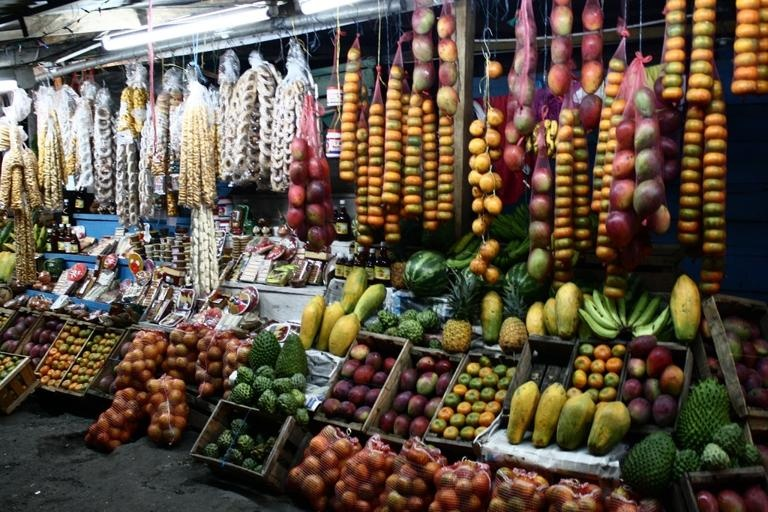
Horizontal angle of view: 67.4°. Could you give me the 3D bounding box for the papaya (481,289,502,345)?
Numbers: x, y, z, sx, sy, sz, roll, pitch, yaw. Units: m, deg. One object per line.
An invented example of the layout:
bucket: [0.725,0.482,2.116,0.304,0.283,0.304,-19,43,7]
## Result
papaya: [0.868,0.536,4.810,0.168,0.400,0.168,-7,-11,44]

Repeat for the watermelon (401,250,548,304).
watermelon: [0.720,0.191,5.322,1.003,0.420,0.733,-6,-4,1]

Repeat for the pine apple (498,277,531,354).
pine apple: [1.056,0.496,4.715,0.201,0.591,0.207,1,-5,15]

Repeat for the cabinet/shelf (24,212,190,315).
cabinet/shelf: [-3.424,0.133,7.176,1.182,0.824,0.636,-1,-6,24]

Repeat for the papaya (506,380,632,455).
papaya: [1.266,1.142,4.009,0.771,0.412,0.329,6,-48,37]

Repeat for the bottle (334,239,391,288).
bottle: [-0.193,0.090,5.519,0.441,0.351,0.147,4,5,30]

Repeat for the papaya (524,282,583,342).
papaya: [1.361,0.480,4.561,0.286,0.261,0.559,40,-33,4]

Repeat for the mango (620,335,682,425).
mango: [1.912,0.948,4.105,0.363,0.652,0.250,4,-17,40]

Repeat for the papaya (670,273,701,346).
papaya: [2.321,0.383,4.408,0.248,0.550,0.269,-6,-24,31]
